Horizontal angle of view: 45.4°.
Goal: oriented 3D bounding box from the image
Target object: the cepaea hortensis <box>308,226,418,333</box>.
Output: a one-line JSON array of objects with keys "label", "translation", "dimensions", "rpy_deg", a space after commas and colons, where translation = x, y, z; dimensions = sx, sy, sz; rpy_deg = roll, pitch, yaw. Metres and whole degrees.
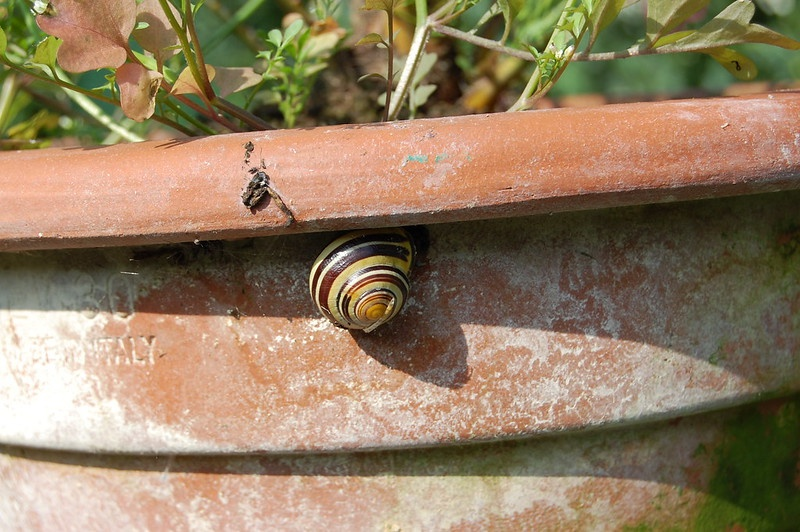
[{"label": "cepaea hortensis", "translation": [-0.048, 0.018, 1.199], "dimensions": [0.132, 0.063, 0.121], "rpy_deg": [-5, 83, -3]}]
